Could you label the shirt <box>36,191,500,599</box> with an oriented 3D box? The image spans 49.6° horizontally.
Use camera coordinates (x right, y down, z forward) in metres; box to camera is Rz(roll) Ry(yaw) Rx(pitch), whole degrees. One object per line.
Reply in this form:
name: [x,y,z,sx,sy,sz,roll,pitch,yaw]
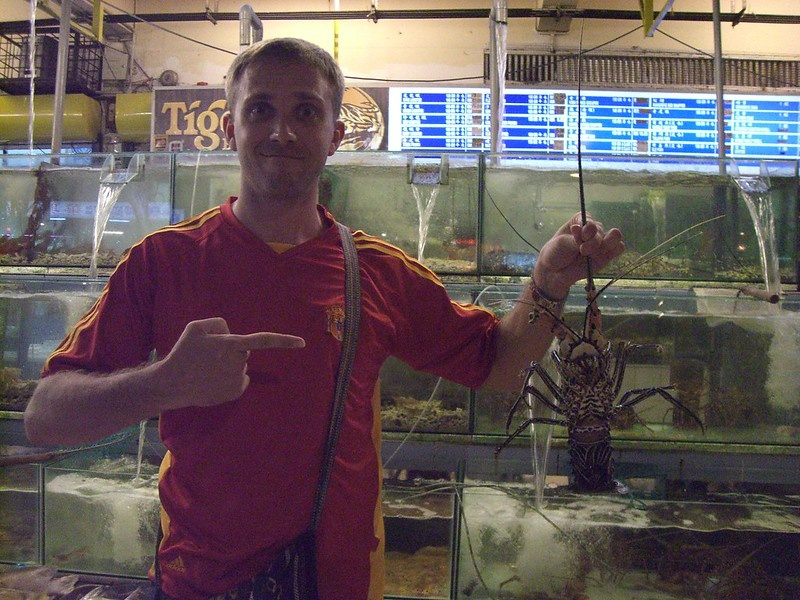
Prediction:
shirt: [-0.616,0.598,4.555,2.314,1.817,0.696,3,-4,-11]
